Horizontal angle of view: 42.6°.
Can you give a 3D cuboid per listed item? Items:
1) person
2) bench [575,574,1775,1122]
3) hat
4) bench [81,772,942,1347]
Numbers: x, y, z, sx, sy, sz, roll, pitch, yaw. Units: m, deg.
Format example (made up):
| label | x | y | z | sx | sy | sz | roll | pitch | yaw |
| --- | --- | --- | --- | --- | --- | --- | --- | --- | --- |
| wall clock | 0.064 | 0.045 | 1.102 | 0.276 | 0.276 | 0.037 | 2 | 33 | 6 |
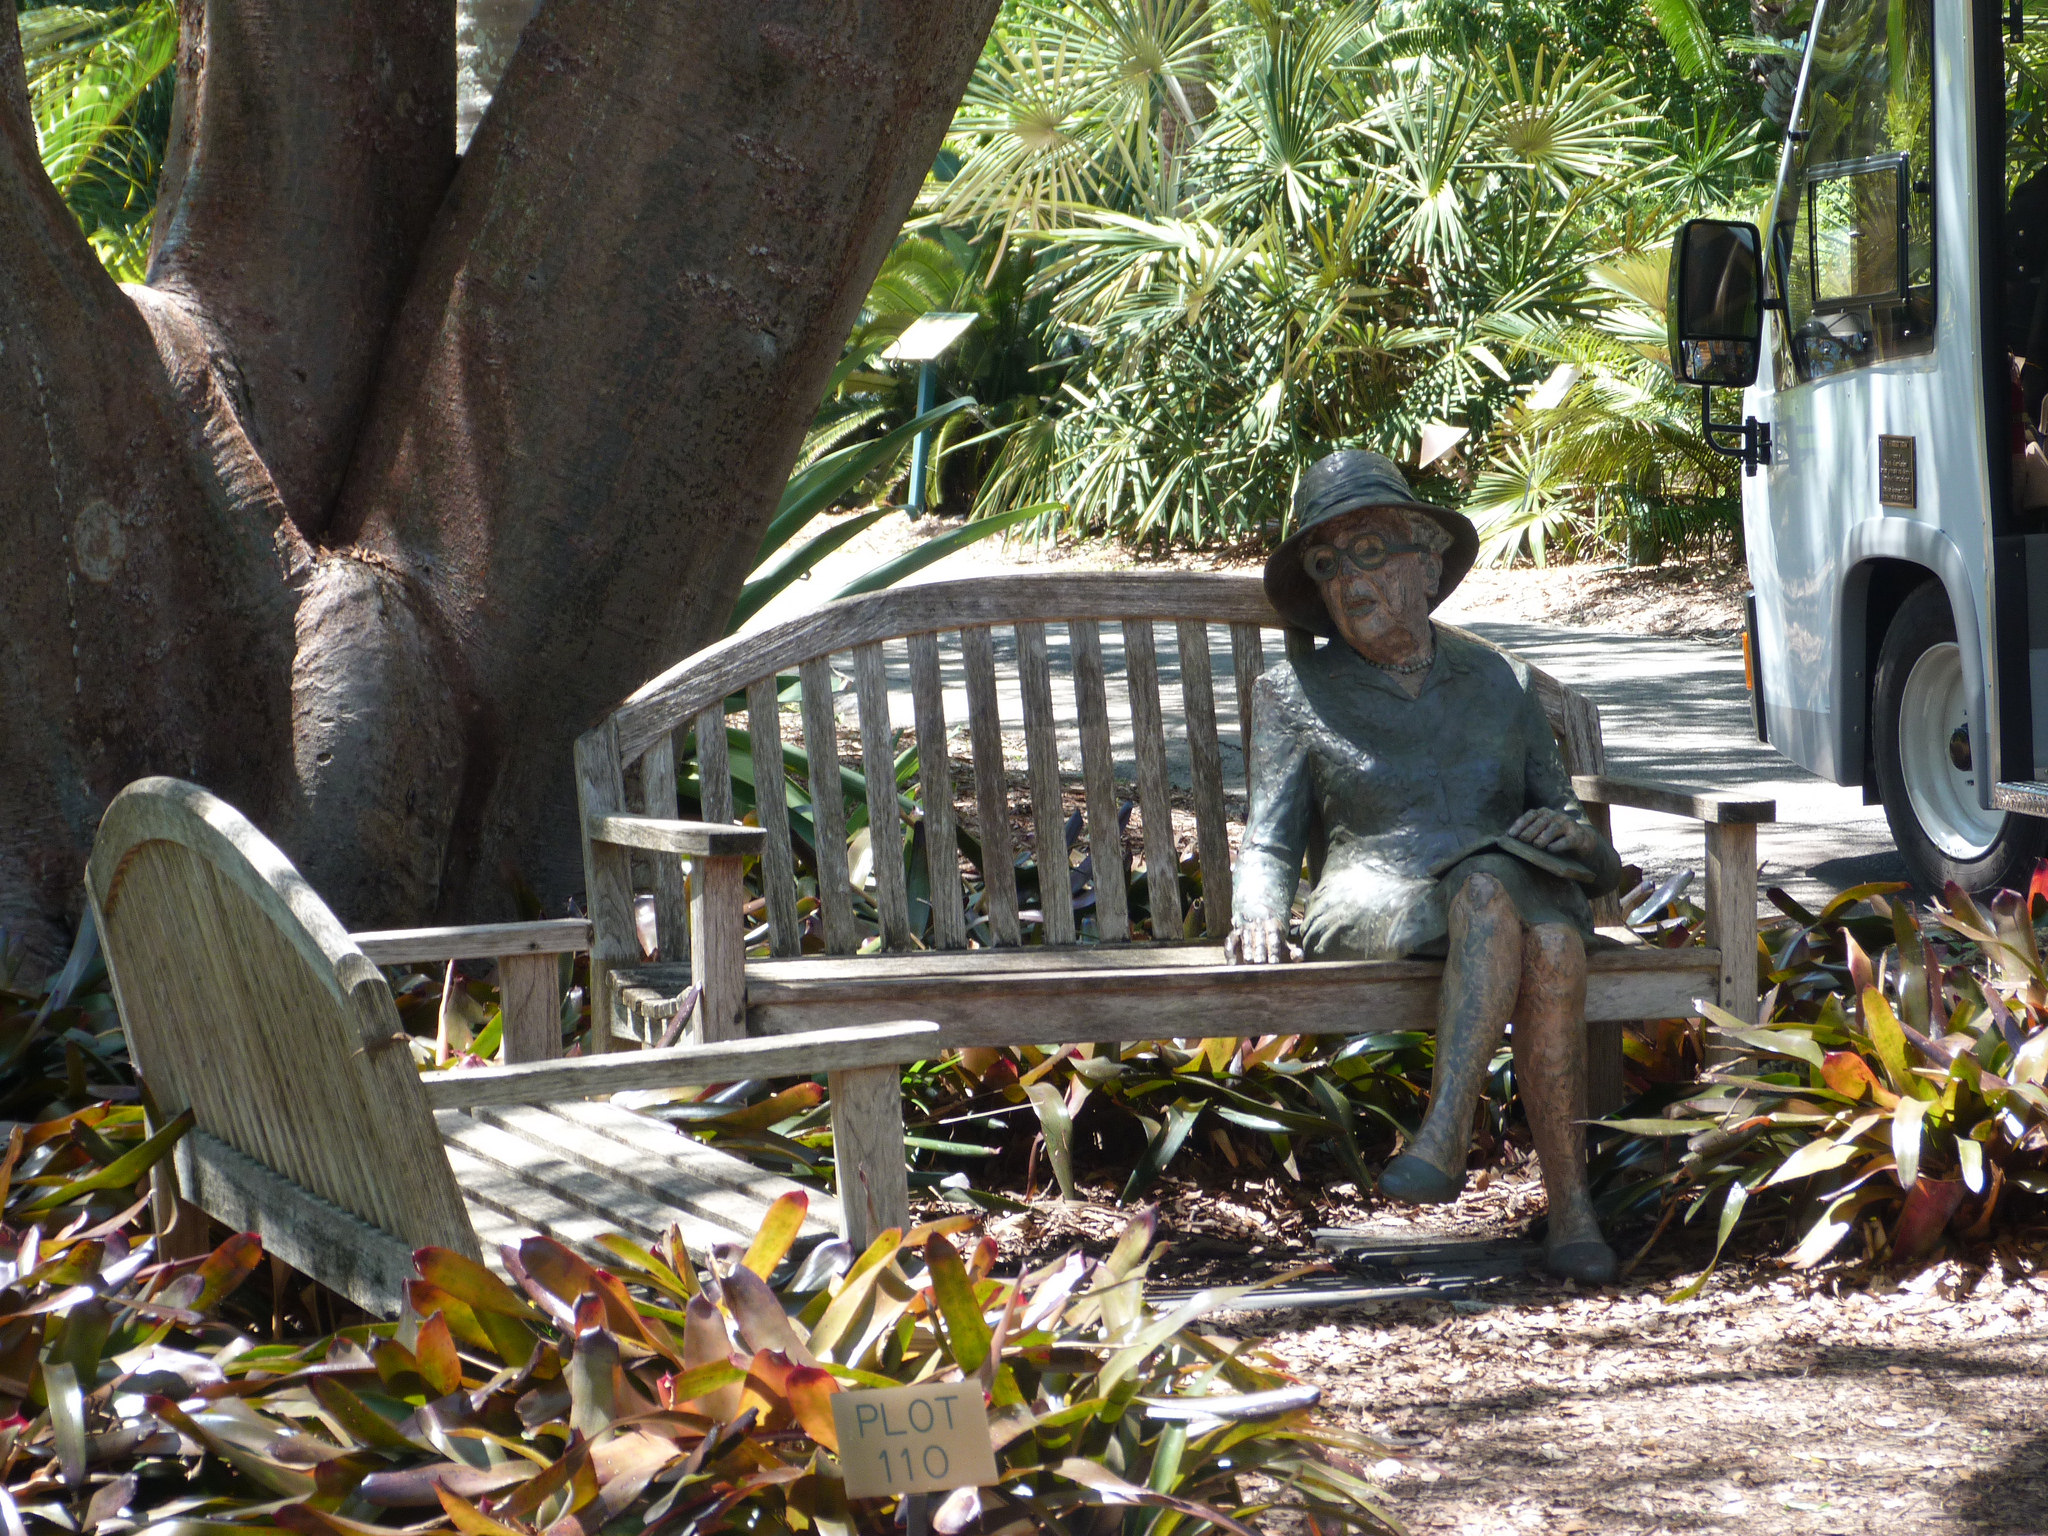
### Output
| label | x | y | z | sx | sy | sz | roll | pitch | yaw |
| --- | --- | --- | --- | --- | --- | --- | --- | --- | --- |
| person | 0.817 | 0.135 | 5.445 | 0.774 | 1.504 | 1.155 | 2 | 11 | -1 |
| bench | 0.422 | 0.281 | 5.841 | 2.742 | 1.613 | 1.060 | -1 | 0 | -27 |
| hat | 0.730 | -0.552 | 5.682 | 0.431 | 0.238 | 0.424 | -17 | -14 | 28 |
| bench | -0.917 | 0.548 | 4.528 | 0.963 | 1.080 | 1.536 | -2 | 5 | -31 |
